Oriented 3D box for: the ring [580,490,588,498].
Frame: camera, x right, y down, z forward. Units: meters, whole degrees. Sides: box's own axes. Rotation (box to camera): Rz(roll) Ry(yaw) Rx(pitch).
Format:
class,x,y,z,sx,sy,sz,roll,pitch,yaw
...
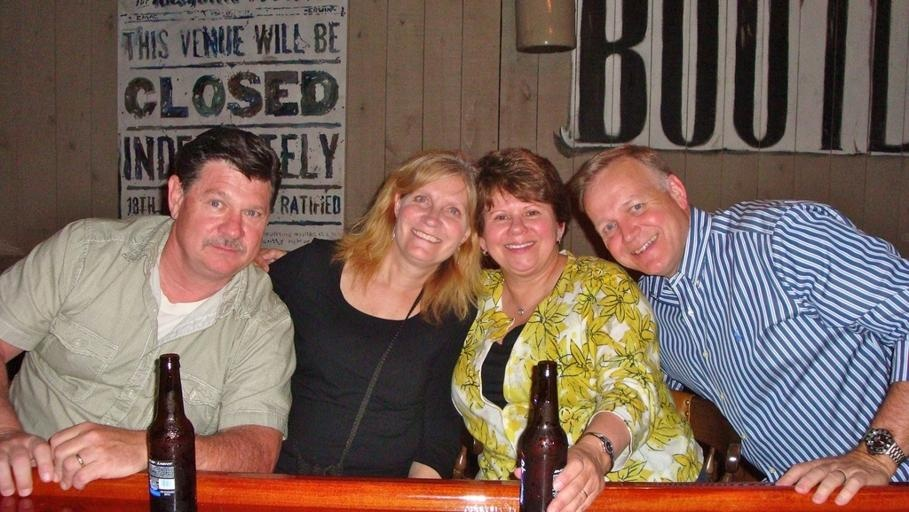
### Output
class,x,y,z,sx,sy,sz,roll,pitch,yaw
ring,0.611,1.159,3.962,0.047,0.033,0.047,-1,1,0
